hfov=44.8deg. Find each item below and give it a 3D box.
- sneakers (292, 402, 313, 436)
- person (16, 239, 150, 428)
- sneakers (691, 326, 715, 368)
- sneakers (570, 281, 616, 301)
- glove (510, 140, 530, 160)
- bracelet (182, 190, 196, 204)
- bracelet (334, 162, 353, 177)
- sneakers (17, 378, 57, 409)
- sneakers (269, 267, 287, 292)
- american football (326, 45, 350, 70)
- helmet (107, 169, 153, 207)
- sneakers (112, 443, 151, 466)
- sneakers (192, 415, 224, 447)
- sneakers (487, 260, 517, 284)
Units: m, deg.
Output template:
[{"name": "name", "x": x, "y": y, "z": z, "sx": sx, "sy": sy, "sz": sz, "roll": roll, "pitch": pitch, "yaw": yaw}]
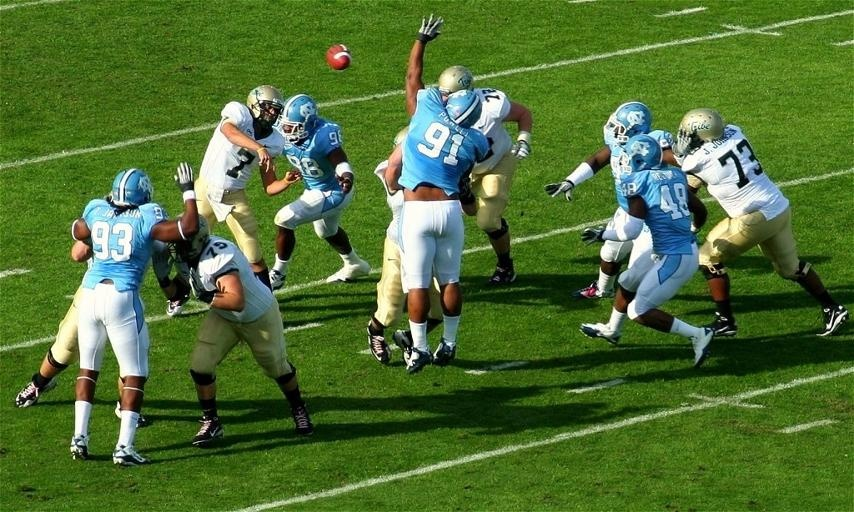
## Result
[{"name": "sneakers", "x": -1.241, "y": 1.607, "z": 10.263, "sx": 0.149, "sy": 0.359, "sz": 0.167, "roll": -22, "pitch": 5, "yaw": -8}, {"name": "person", "x": -3.622, "y": 0.831, "z": 10.713, "sx": 1.629, "sy": 1.807, "sz": 0.533, "roll": 16, "pitch": -18, "yaw": -13}, {"name": "sneakers", "x": 2.916, "y": 0.929, "z": 10.990, "sx": 0.296, "sy": 0.450, "sz": 0.171, "roll": 0, "pitch": 18, "yaw": -11}, {"name": "sneakers", "x": 1.967, "y": 0.419, "z": 12.393, "sx": 0.552, "sy": 0.184, "sz": 0.179, "roll": 2, "pitch": -3, "yaw": 0}, {"name": "glove", "x": 1.095, "y": -1.245, "z": 12.240, "sx": 0.208, "sy": 0.150, "sz": 0.234, "roll": 7, "pitch": -4, "yaw": -4}, {"name": "bracelet", "x": -2.256, "y": -0.558, "z": 9.813, "sx": 0.135, "sy": 0.093, "sz": 0.130, "roll": -18, "pitch": -11, "yaw": 36}, {"name": "bracelet", "x": -0.936, "y": -0.992, "z": 11.933, "sx": 0.188, "sy": 0.171, "sz": 0.195, "roll": 7, "pitch": 11, "yaw": 19}, {"name": "sneakers", "x": -4.063, "y": 1.420, "z": 10.610, "sx": 0.473, "sy": 0.189, "sz": 0.202, "roll": -39, "pitch": 4, "yaw": -17}, {"name": "sneakers", "x": -1.801, "y": 0.273, "z": 12.465, "sx": 0.136, "sy": 0.334, "sz": 0.150, "roll": 1, "pitch": 53, "yaw": 3}, {"name": "american football", "x": -1.190, "y": -2.689, "z": 14.063, "sx": 0.351, "sy": 0.250, "sz": 0.466, "roll": 8, "pitch": 13, "yaw": -6}, {"name": "helmet", "x": -2.785, "y": -0.660, "z": 9.953, "sx": 0.339, "sy": 0.312, "sz": 0.421, "roll": 13, "pitch": 32, "yaw": 20}, {"name": "sneakers", "x": -2.815, "y": 1.856, "z": 9.733, "sx": 0.454, "sy": 0.179, "sz": 0.142, "roll": 4, "pitch": 21, "yaw": -22}, {"name": "sneakers", "x": -2.189, "y": 1.697, "z": 10.125, "sx": 0.169, "sy": 0.206, "sz": 0.472, "roll": 6, "pitch": 14, "yaw": 26}, {"name": "sneakers", "x": 0.911, "y": 0.232, "z": 12.656, "sx": 0.176, "sy": 0.168, "sz": 0.458, "roll": -2, "pitch": 5, "yaw": 32}]
